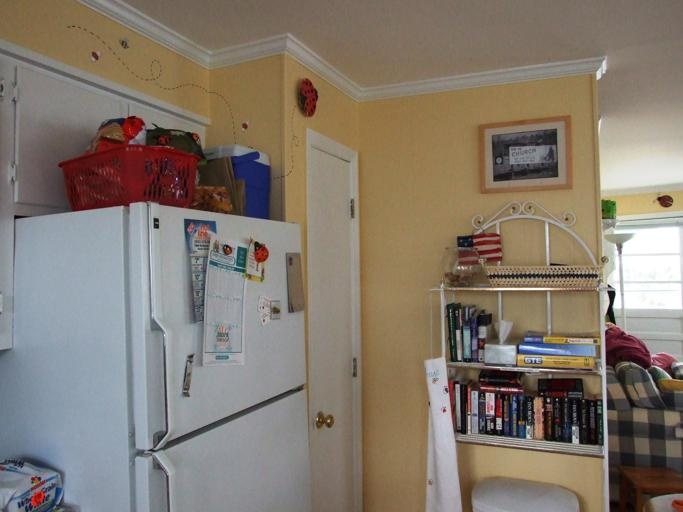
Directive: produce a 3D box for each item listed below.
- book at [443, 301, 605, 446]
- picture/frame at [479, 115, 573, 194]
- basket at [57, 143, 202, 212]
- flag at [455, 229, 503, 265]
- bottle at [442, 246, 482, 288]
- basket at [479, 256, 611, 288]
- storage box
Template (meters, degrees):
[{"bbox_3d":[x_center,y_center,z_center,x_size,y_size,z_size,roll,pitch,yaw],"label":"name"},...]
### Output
[{"bbox_3d":[1.053,0.680,3.212,0.732,0.798,0.257,-1,-5,16],"label":"book"},{"bbox_3d":[1.119,-0.599,3.362,0.429,0.381,0.020,-1,-1,21],"label":"picture/frame"},{"bbox_3d":[-0.870,-0.249,2.247,0.364,0.147,0.287,-4,-4,35],"label":"basket"},{"bbox_3d":[0.827,-0.047,3.369,0.178,0.148,0.015,-4,0,15],"label":"flag"},{"bbox_3d":[0.757,0.070,3.392,0.237,0.296,0.208,-6,-6,37],"label":"bottle"},{"bbox_3d":[1.130,0.116,3.141,0.609,0.125,0.074,-1,-7,10],"label":"basket"},{"bbox_3d":[-0.527,-0.309,2.876,0.320,0.420,0.396,-1,1,-41],"label":"storage box"}]
